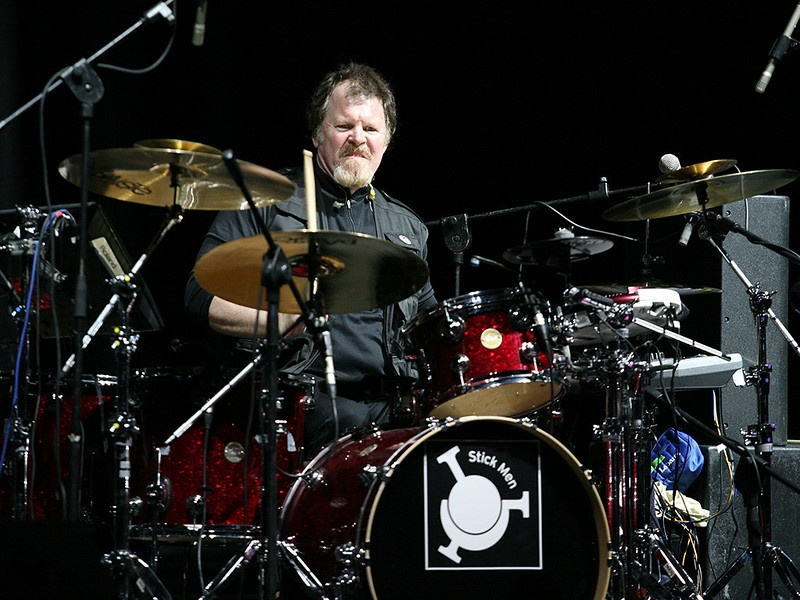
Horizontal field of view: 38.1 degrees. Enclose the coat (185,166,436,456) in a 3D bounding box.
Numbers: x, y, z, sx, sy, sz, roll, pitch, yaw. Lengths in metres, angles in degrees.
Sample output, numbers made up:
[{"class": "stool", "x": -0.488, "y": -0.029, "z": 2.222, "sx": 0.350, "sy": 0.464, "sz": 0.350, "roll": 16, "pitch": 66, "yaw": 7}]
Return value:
[{"class": "coat", "x": -0.352, "y": 0.073, "z": 4.484, "sx": 1.096, "sy": 1.069, "sz": 0.629, "roll": 10, "pitch": -37, "yaw": -20}]
